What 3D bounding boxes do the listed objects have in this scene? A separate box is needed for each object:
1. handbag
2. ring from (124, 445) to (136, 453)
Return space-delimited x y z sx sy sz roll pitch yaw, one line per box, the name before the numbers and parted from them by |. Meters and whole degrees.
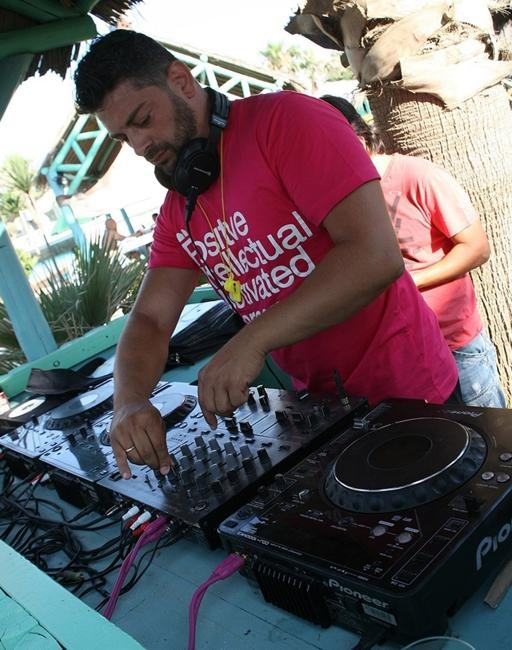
handbag | -0.238 0.049 2.239 0.260 0.079 0.331 3 33 39
ring | -0.253 0.248 0.978 0.015 0.004 0.014 -20 47 23
